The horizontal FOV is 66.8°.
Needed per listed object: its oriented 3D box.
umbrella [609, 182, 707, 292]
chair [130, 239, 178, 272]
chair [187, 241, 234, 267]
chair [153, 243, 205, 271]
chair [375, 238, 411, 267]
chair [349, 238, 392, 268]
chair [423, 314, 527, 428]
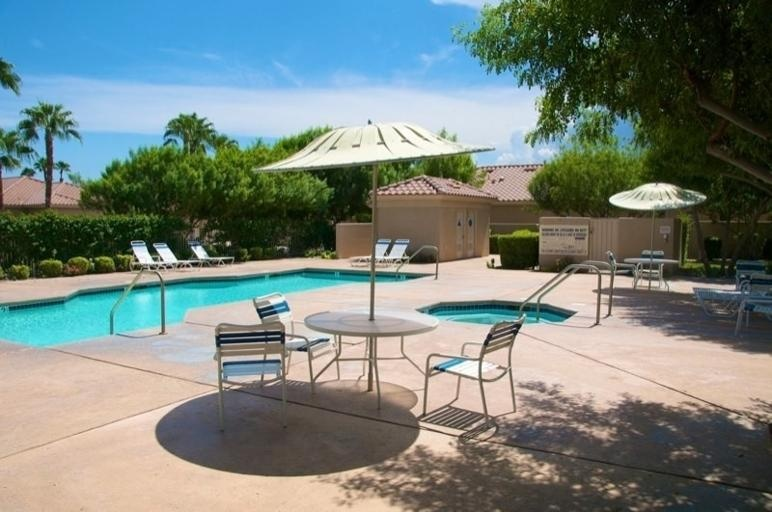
[{"bbox_3d":[9.540,-0.636,20.464,3.287,3.707,3.208,-23,23,-37],"label":"umbrella"},{"bbox_3d":[-9.056,-0.032,22.268,2.002,1.420,1.032,3,2,24],"label":"chair"},{"bbox_3d":[-7.644,-0.085,24.690,2.082,1.201,1.050,2,4,16],"label":"chair"},{"bbox_3d":[-8.317,-0.005,22.818,1.748,1.012,0.946,3,5,22],"label":"chair"},{"bbox_3d":[0.347,-0.184,25.381,0.883,0.877,1.614,0,0,14],"label":"chair"},{"bbox_3d":[-0.606,-0.134,25.320,0.853,1.219,2.254,0,-3,24],"label":"chair"},{"bbox_3d":[1.250,1.509,8.623,1.538,2.043,1.306,3,3,36],"label":"chair"}]
